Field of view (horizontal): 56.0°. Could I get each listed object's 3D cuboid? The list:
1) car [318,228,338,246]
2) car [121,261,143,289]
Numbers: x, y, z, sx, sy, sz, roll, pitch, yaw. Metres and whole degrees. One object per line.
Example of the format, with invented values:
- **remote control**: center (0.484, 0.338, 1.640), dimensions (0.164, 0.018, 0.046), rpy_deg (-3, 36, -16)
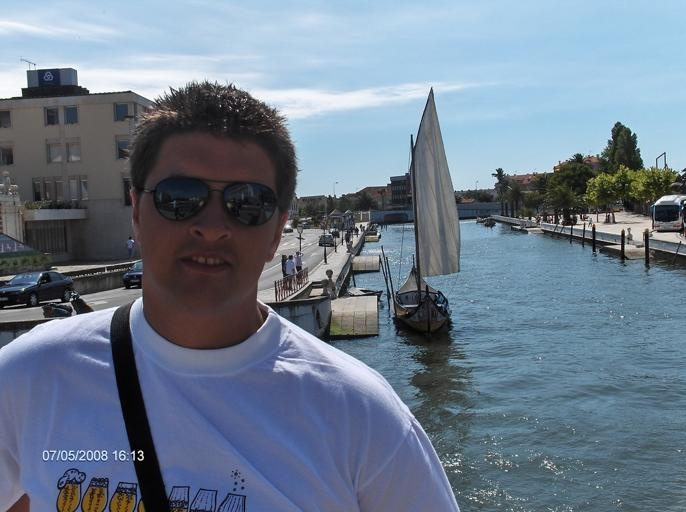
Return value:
- **car**: center (-1.653, -1.801, 72.022), dimensions (1.586, 1.309, 3.988), rpy_deg (1, 9, 3)
- **car**: center (-10.927, 1.057, 33.669), dimensions (1.223, 1.252, 2.389), rpy_deg (-1, -5, -11)
